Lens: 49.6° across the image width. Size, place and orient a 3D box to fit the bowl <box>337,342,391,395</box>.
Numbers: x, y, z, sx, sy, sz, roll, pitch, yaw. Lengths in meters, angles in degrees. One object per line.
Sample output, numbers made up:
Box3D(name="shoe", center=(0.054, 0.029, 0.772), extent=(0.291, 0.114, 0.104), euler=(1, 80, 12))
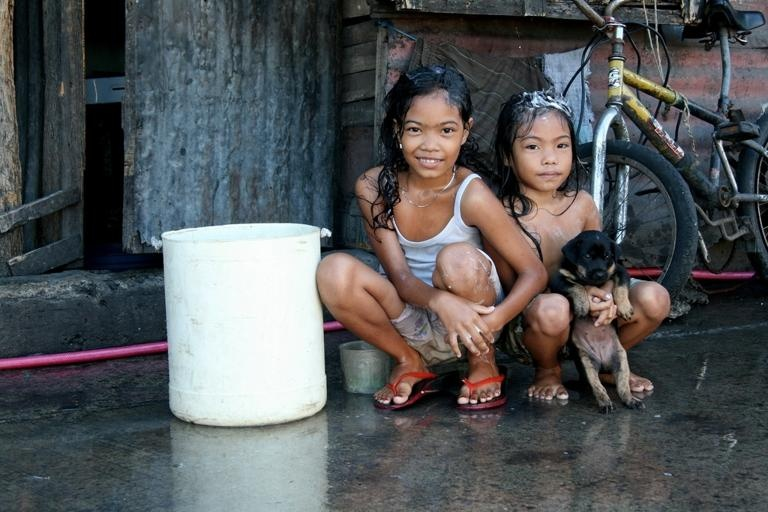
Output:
Box3D(name="bowl", center=(-0.102, 0.608, 4.516), extent=(0.304, 0.208, 0.267), euler=(-1, 0, 39))

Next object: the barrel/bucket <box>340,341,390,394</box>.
Box3D(name="barrel/bucket", center=(-0.088, 0.596, 4.447), extent=(0.303, 0.201, 0.263), euler=(-1, 0, 34))

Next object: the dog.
Box3D(name="dog", center=(1.062, 0.314, 4.208), extent=(0.413, 0.866, 0.388), euler=(-3, 12, 9))

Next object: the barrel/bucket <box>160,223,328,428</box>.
Box3D(name="barrel/bucket", center=(-0.692, 0.335, 4.211), extent=(0.813, 0.935, 0.535), euler=(-5, 12, -5))

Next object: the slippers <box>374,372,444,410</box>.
Box3D(name="slippers", center=(0.167, 0.670, 4.311), extent=(0.450, 0.157, 0.135), euler=(-9, 16, -40))
